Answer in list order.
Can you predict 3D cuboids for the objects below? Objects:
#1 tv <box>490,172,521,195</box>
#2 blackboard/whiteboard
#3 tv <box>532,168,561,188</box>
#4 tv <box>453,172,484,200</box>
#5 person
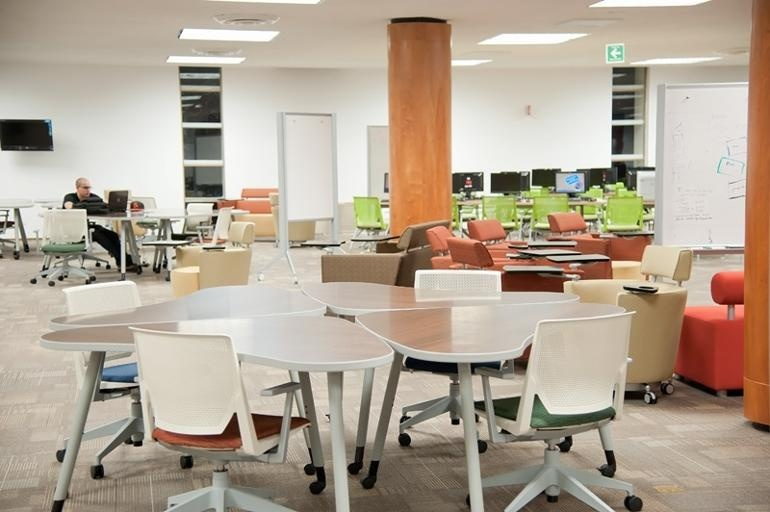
[{"bbox_3d":[3.373,-2.033,16.099,0.829,0.548,0.243,0,1,4],"label":"tv"},{"bbox_3d":[3.572,-0.998,6.323,0.201,1.744,1.310,-11,12,-9],"label":"blackboard/whiteboard"},{"bbox_3d":[4.430,-2.145,15.860,0.758,0.508,0.221,0,2,15],"label":"tv"},{"bbox_3d":[2.307,-1.962,16.154,1.253,0.824,0.311,-1,0,-1],"label":"tv"},{"bbox_3d":[-5.663,-0.593,11.574,1.517,1.753,1.078,3,-4,-4],"label":"person"}]
